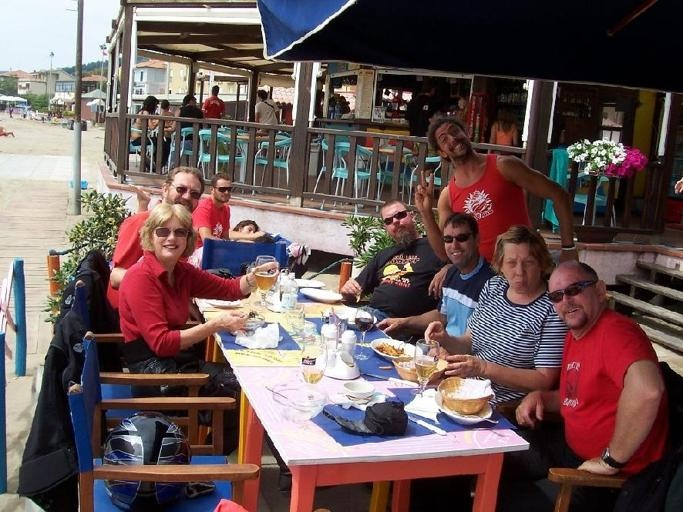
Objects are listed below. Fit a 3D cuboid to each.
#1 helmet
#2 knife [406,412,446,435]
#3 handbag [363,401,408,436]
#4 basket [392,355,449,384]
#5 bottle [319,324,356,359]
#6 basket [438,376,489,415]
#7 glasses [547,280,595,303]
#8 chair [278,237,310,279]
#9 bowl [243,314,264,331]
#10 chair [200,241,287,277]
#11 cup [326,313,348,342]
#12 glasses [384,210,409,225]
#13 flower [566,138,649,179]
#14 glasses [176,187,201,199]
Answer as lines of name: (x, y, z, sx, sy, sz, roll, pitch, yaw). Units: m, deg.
helmet: (-0.944, 1.020, 2.675, 0.411, 0.347, 0.469, 7, -13, -8)
knife: (0.401, 0.803, 2.538, 0.061, 0.015, 0.340, -6, 7, -21)
handbag: (0.196, 0.746, 2.454, 0.175, 0.103, 0.132, 0, 14, -6)
basket: (0.411, 0.622, 2.913, 0.232, 0.077, 0.225, 0, 3, 26)
bottle: (-0.026, 0.510, 3.164, 0.264, 0.230, 0.151, -1, 12, -6)
basket: (0.610, 0.692, 2.667, 0.188, 0.088, 0.191, 8, -7, -30)
glasses: (1.253, 0.192, 2.864, 0.224, 0.139, 0.095, 6, 9, 18)
chair: (-0.570, 0.031, 6.404, 0.291, 0.459, 0.483, -25, 43, -37)
bowl: (-0.582, 0.438, 3.457, 0.119, 0.046, 0.128, 0, -1, 0)
chair: (-1.067, -0.007, 5.182, 0.500, 0.237, 0.590, 0, 7, -12)
cup: (-0.018, 0.430, 3.369, 0.158, 0.201, 0.174, 0, 21, 1)
glasses: (0.483, -0.350, 4.852, 0.248, 0.148, 0.088, 8, 10, 29)
flower: (3.761, -1.408, 7.436, 0.726, 0.310, 0.709, 11, 23, 24)
glasses: (-1.473, -0.608, 5.125, 0.262, 0.127, 0.101, -3, 10, -34)
